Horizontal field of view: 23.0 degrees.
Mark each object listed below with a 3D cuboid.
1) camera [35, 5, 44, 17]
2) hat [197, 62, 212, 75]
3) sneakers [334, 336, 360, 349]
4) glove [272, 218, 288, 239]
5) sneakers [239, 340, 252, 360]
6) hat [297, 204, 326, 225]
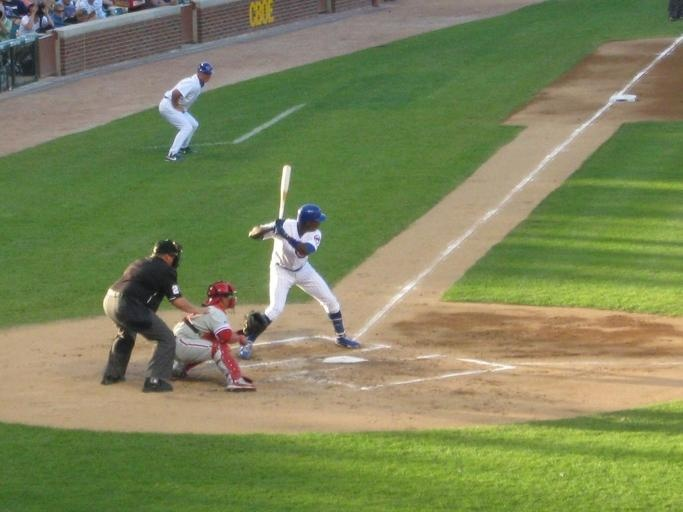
[{"bbox_3d":[-7.925,-6.581,44.556,0.153,0.333,0.363,1,10,20],"label":"camera"},{"bbox_3d":[-3.058,-4.329,38.036,0.293,0.182,0.398,36,-10,-36],"label":"hat"},{"bbox_3d":[0.135,1.551,31.070,0.373,0.108,0.224,6,22,7],"label":"sneakers"},{"bbox_3d":[-1.102,-0.541,30.373,0.296,0.272,0.346,12,-16,-1],"label":"glove"},{"bbox_3d":[-1.726,1.670,30.711,0.171,0.179,0.439,10,33,10],"label":"sneakers"},{"bbox_3d":[-0.538,-0.802,30.517,0.500,0.212,0.302,0,30,-8],"label":"hat"}]
